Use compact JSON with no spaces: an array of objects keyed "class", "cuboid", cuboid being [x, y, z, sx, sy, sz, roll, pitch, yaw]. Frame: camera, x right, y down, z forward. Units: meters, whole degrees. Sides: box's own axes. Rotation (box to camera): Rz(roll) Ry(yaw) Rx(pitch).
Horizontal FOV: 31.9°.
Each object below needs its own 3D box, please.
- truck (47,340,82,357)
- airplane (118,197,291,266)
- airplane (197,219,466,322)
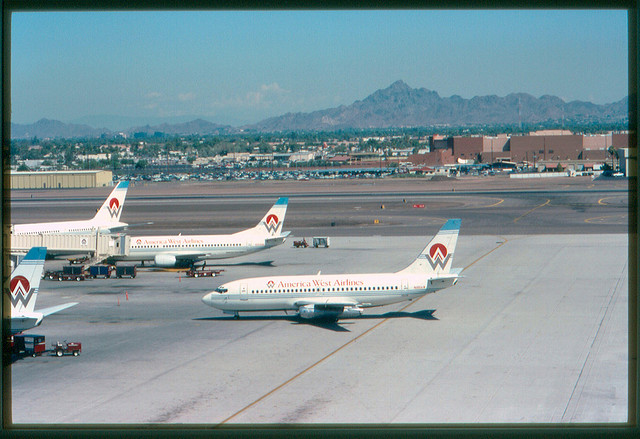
[{"class":"truck","cuboid":[-20.492,10.403,90.714,2.420,0.965,1.222,-2,9,0]},{"class":"airplane","cuboid":[-11.617,1.798,118.593,12.235,3.951,9.646,0,4,4]},{"class":"airplane","cuboid":[2.016,4.494,96.688,19.824,5.988,1.861,-3,2,5]}]
